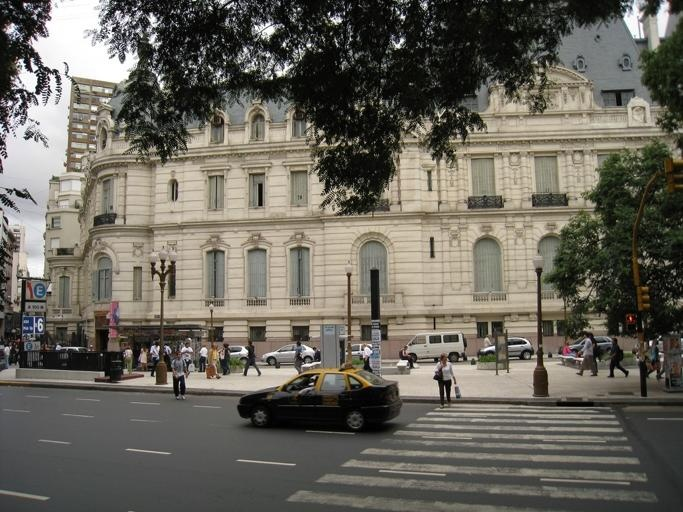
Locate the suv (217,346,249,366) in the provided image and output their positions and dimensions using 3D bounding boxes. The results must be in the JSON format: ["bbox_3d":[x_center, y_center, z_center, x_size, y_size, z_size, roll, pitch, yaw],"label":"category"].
[{"bbox_3d":[-7.012,6.420,54.066,2.185,1.165,1.419,4,-7,2],"label":"suv"}]

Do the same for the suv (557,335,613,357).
[{"bbox_3d":[15.019,5.355,52.631,3.573,1.646,1.711,3,-12,-18],"label":"suv"}]

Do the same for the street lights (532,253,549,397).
[{"bbox_3d":[8.101,2.748,35.333,0.889,5.903,0.934,0,5,20],"label":"street lights"}]

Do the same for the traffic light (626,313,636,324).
[{"bbox_3d":[11.284,2.498,33.707,0.361,0.399,0.205,-3,-6,21],"label":"traffic light"}]

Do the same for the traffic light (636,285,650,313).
[{"bbox_3d":[11.695,1.663,33.506,0.389,0.980,0.800,0,-6,-4],"label":"traffic light"}]

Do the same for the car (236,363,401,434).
[{"bbox_3d":[-0.770,4.772,29.205,5.284,2.129,2.323,-1,-2,19],"label":"car"}]
